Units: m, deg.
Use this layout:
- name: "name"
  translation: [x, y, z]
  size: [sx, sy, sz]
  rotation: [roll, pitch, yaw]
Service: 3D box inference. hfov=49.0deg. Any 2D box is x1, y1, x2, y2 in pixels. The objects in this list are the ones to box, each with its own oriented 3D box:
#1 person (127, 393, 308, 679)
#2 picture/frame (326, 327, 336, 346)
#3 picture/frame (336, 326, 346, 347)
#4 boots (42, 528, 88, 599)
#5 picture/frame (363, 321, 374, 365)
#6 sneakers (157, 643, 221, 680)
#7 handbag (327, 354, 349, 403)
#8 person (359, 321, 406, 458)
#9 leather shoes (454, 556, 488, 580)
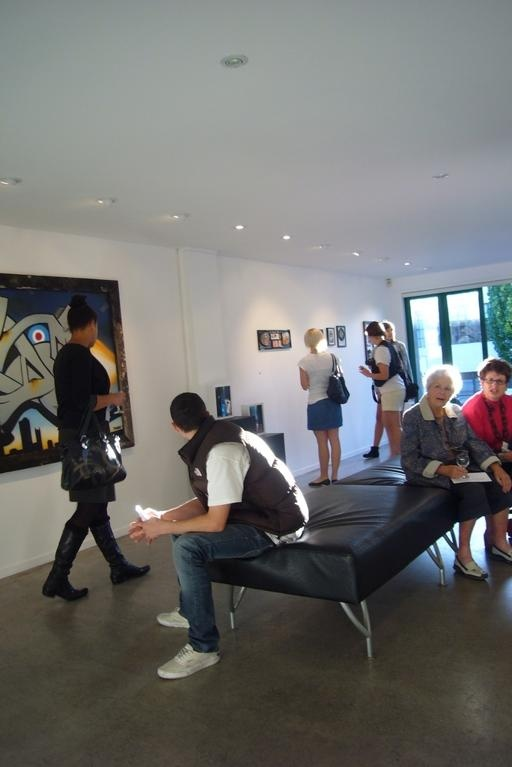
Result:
- name: "person"
  translation: [-0.150, 0.594, 2.519]
  size: [1.017, 1.289, 0.791]
  rotation: [-1, -1, 0]
- name: "picture/frame"
  translation: [0.959, -0.604, 7.200]
  size: [0.025, 0.243, 0.248]
  rotation: [-2, 2, 28]
- name: "picture/frame"
  translation: [1.130, -0.627, 7.437]
  size: [0.034, 0.341, 0.296]
  rotation: [-1, 1, 29]
- name: "boots"
  translation: [-1.040, 0.978, 3.051]
  size: [0.244, 0.312, 0.213]
  rotation: [-5, -2, -22]
- name: "picture/frame"
  translation: [1.420, -0.508, 7.072]
  size: [0.033, 0.766, 0.672]
  rotation: [-2, 5, 22]
- name: "sneakers"
  translation: [-0.251, 1.040, 2.121]
  size: [0.252, 0.102, 0.084]
  rotation: [-4, 5, -34]
- name: "handbag"
  translation: [0.793, -0.039, 5.429]
  size: [0.160, 0.473, 0.278]
  rotation: [-7, -2, 26]
- name: "person"
  translation: [1.301, 0.069, 5.634]
  size: [0.396, 1.346, 0.428]
  rotation: [-7, -2, 18]
- name: "leather shoes"
  translation: [1.045, 0.903, 2.742]
  size: [0.065, 0.052, 0.131]
  rotation: [-4, 4, -31]
